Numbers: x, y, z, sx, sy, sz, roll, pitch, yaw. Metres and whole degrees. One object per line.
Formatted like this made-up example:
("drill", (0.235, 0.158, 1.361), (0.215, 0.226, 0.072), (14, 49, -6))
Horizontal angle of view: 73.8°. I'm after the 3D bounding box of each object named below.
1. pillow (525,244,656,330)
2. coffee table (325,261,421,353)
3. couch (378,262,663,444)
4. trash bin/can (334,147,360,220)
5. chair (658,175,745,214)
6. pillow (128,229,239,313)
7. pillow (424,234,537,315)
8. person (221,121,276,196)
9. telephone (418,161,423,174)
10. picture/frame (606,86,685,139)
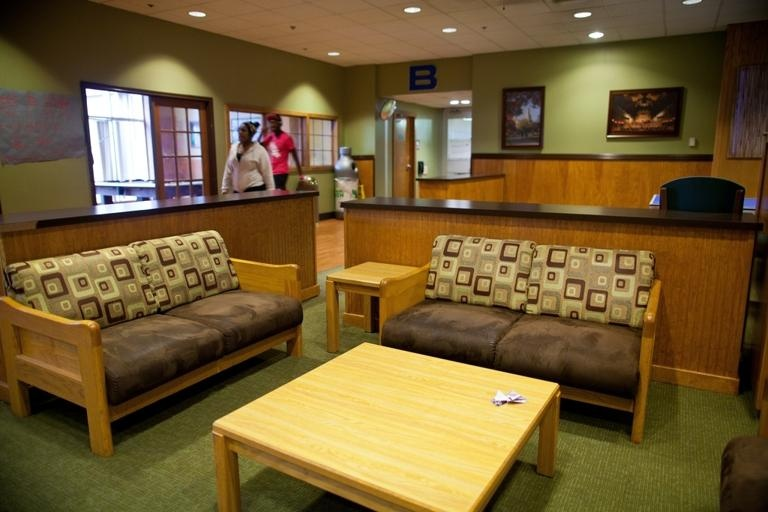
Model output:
("pillow", (1.544, 0.195, 3.786), (0.836, 0.601, 0.199), (5, -11, 21))
("coffee table", (-0.076, 0.453, 4.429), (0.775, 0.803, 0.808), (5, 8, 35))
("couch", (0.985, 0.621, 3.961), (1.896, 0.796, 1.121), (6, 15, 24))
("trash bin/can", (-0.764, -1.487, 10.605), (0.558, 1.393, 0.539), (0, 9, 8))
("chair", (3.065, -0.599, 4.962), (0.675, 0.319, 0.257), (5, 15, 25))
("pillow", (-1.617, 0.103, 4.113), (0.285, 0.508, 0.768), (9, 18, 40))
("pillow", (0.798, 0.122, 4.168), (0.861, 0.537, 0.324), (6, 24, 18))
("person", (-1.697, -1.179, 6.174), (0.418, 0.831, 0.629), (-15, 19, -43))
("telephone", (0.888, -2.168, 12.564), (0.110, 0.313, 0.322), (1, 5, 14))
("picture/frame", (4.206, -2.304, 8.129), (0.921, 0.632, 0.066), (6, 14, 29))
